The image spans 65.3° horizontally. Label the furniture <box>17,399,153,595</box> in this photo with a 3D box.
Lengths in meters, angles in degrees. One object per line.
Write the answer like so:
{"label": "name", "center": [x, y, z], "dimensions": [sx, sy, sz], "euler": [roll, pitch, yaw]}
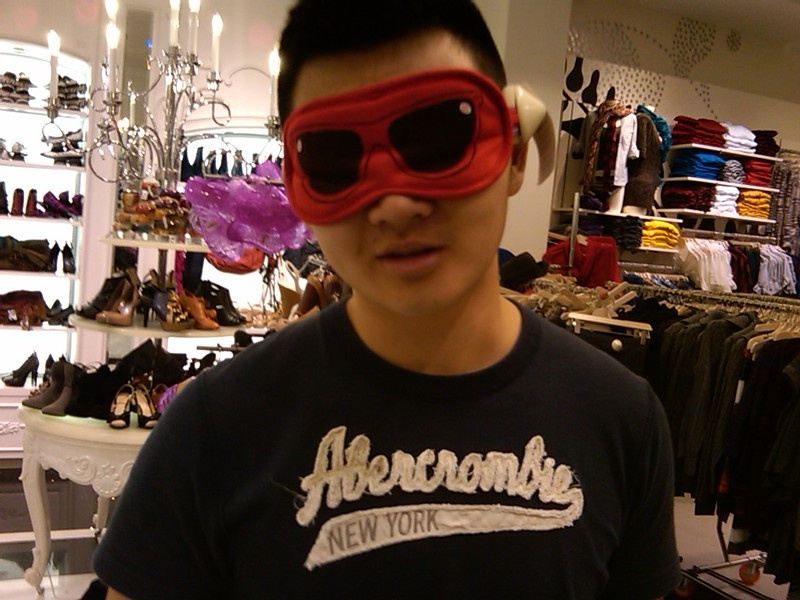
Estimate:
{"label": "furniture", "center": [-1.288, 0.734, 2.548], "dimensions": [0.536, 0.701, 0.589], "euler": [8, 7, -24]}
